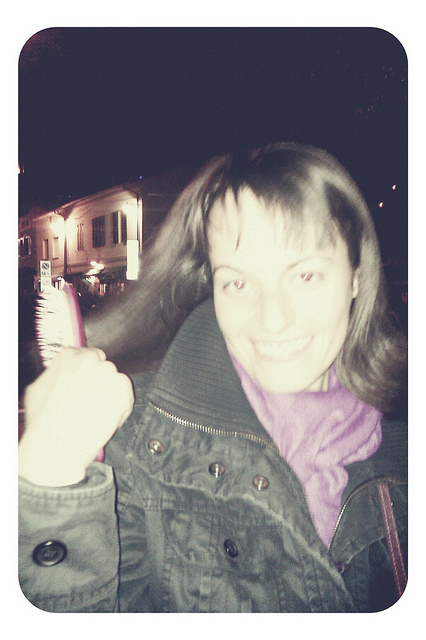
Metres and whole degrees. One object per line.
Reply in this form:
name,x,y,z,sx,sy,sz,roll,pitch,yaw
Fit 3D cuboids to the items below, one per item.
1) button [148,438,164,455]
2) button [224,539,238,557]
button,-0.197,0.428,1.952,0.038,0.056,0.011,1,-3,7
button,0.059,0.774,1.955,0.042,0.060,0.005,0,7,11
